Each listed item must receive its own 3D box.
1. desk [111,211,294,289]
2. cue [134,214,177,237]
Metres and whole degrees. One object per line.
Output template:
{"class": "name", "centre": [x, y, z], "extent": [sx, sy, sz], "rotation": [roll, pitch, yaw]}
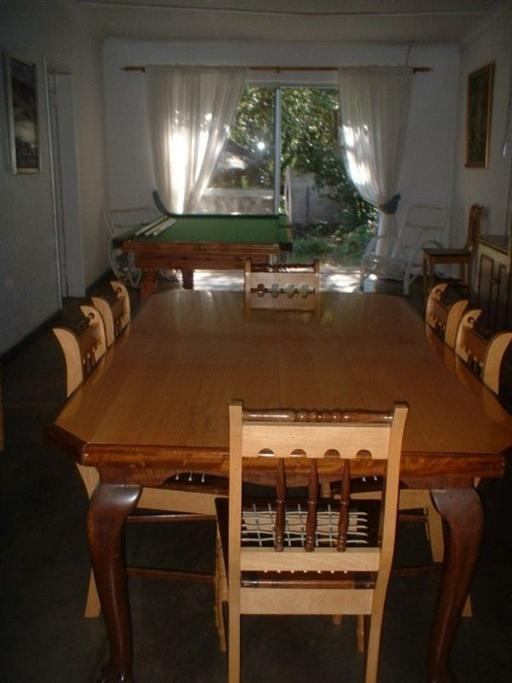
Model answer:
{"class": "desk", "centre": [-0.560, -0.847, 4.710], "extent": [1.007, 0.575, 1.284], "rotation": [-1, 27, 0]}
{"class": "cue", "centre": [-0.996, -1.109, 4.975], "extent": [0.148, 0.057, 0.623], "rotation": [1, 21, 6]}
